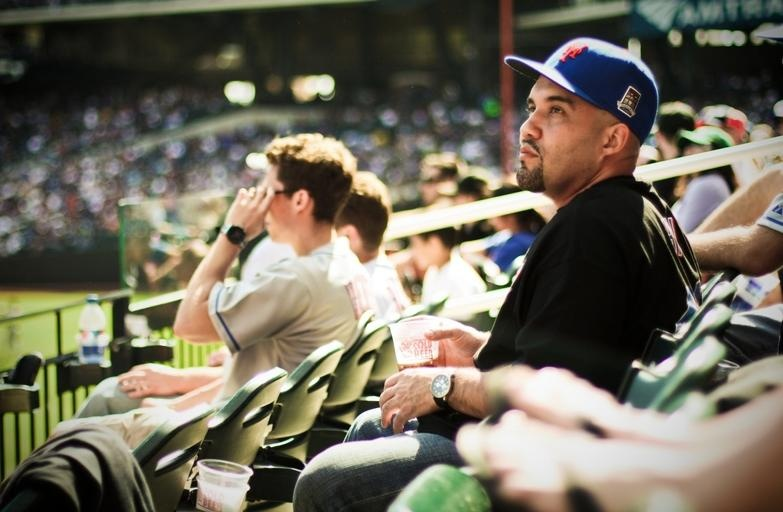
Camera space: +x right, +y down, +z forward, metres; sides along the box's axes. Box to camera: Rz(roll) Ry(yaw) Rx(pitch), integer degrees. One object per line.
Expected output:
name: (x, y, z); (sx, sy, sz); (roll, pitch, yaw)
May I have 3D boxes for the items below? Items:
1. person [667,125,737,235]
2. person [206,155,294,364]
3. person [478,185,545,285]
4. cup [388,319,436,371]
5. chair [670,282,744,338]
person: (2.932, -0.855, 9.131); (0.256, 0.835, 0.303); (-26, 31, 42)
person: (-1.228, 0.276, 9.074); (0.341, 1.449, 1.407); (10, -6, -29)
person: (1.142, -0.201, 9.544); (0.405, 0.305, 1.100); (2, 28, 43)
cup: (0.151, 0.662, 7.472); (0.354, 0.280, 0.346); (-7, -3, 0)
chair: (2.161, 0.416, 6.897); (0.502, 0.174, 0.100); (-1, -29, -31)
